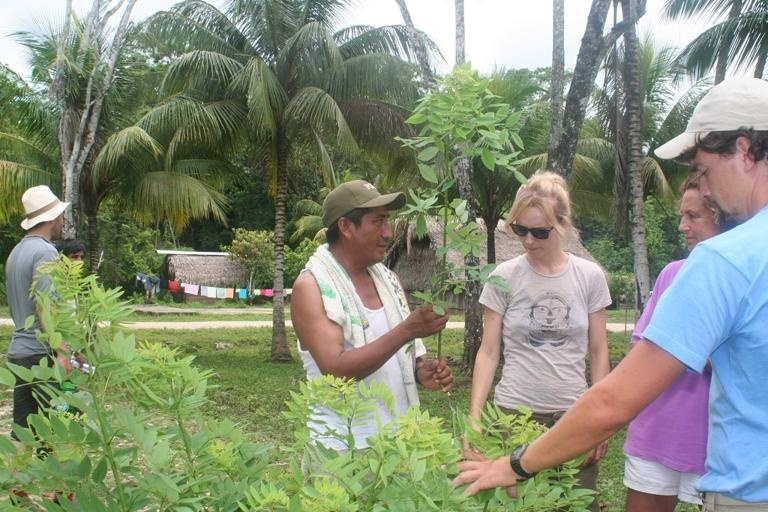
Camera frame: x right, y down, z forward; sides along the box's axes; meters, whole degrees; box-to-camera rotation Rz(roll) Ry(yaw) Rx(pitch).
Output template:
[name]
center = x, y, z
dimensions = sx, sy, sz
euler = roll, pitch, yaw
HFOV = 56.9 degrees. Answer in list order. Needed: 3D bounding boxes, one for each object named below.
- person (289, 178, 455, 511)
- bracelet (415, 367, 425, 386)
[person]
center = -0.112, 0.382, 4.268
dimensions = 1.040, 1.737, 0.923
euler = 0, 4, -41
[bracelet]
center = 0.230, 0.756, 4.476
dimensions = 0.032, 0.086, 0.067
euler = -4, -7, 10
